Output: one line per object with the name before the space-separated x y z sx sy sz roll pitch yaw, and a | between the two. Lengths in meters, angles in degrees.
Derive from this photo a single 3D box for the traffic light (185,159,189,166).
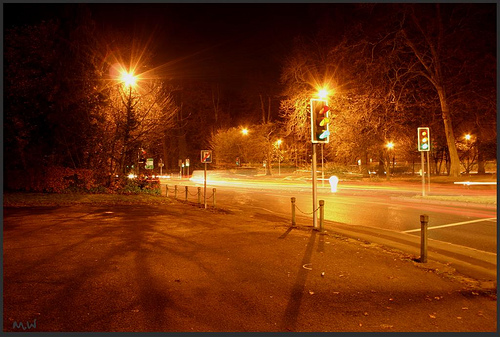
traffic light | -8.614 -0.933 49.927 0.274 1.030 1.917 -3 11 -15

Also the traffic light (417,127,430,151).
traffic light | 11.408 -1.936 24.045 0.698 1.569 0.984 5 11 24

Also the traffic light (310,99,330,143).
traffic light | 2.787 -1.922 14.663 0.736 1.764 0.732 2 11 9
